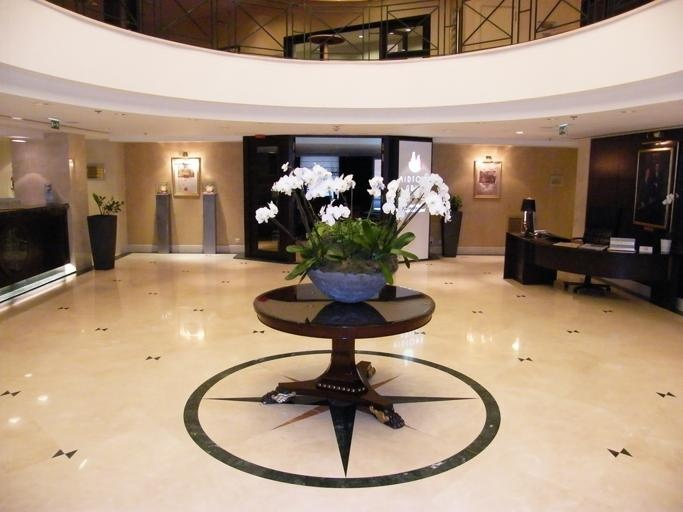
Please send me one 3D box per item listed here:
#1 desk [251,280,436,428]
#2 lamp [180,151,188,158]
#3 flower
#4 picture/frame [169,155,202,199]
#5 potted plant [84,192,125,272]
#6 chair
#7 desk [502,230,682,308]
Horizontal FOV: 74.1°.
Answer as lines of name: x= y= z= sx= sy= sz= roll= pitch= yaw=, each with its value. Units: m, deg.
desk: x=0.028 y=0.957 z=4.402 sx=1.638 sy=1.076 sz=1.188 roll=3 pitch=12 yaw=10
lamp: x=-4.188 y=-2.736 z=12.088 sx=0.160 sy=0.148 sz=0.151 roll=2 pitch=2 yaw=-18
flower: x=0.065 y=-0.346 z=4.445 sx=1.690 sy=0.855 sz=1.618 roll=-3 pitch=7 yaw=-38
picture/frame: x=-4.191 y=-2.150 z=12.162 sx=0.063 sy=1.029 sz=0.851 roll=19 pitch=21 yaw=41
potted plant: x=-5.625 y=-0.669 z=10.838 sx=0.744 sy=1.689 sz=1.536 roll=-5 pitch=14 yaw=-25
chair: x=4.575 y=-0.151 z=8.301 sx=0.974 sy=1.445 sz=0.850 roll=-8 pitch=10 yaw=-37
desk: x=4.547 y=0.211 z=8.561 sx=1.214 sy=1.019 sz=2.920 roll=-6 pitch=13 yaw=-27
